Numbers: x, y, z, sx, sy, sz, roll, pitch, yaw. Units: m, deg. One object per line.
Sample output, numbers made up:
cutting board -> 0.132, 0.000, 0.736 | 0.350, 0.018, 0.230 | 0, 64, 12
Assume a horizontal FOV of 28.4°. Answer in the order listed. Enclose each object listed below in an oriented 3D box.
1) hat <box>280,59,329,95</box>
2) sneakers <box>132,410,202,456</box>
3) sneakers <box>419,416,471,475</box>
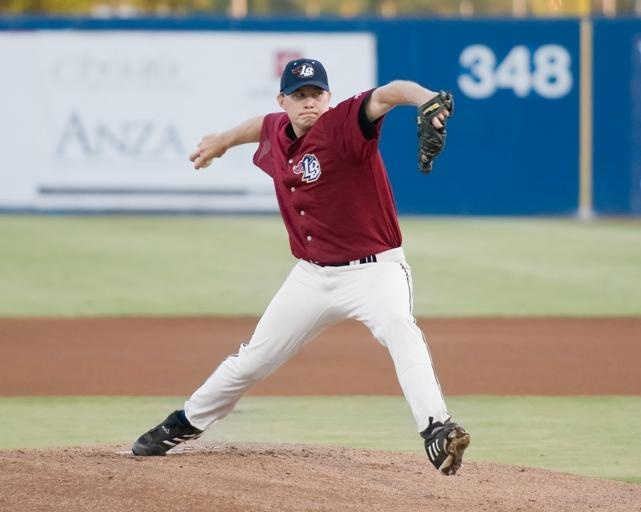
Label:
hat -> -0.117, -1.348, 9.400 | 0.367, 0.258, 0.483 | -4, 8, 0
sneakers -> -1.152, 1.360, 9.599 | 0.627, 0.244, 0.206 | -16, 32, -26
sneakers -> 0.863, 1.336, 8.823 | 0.284, 0.387, 0.174 | -40, -13, 28
